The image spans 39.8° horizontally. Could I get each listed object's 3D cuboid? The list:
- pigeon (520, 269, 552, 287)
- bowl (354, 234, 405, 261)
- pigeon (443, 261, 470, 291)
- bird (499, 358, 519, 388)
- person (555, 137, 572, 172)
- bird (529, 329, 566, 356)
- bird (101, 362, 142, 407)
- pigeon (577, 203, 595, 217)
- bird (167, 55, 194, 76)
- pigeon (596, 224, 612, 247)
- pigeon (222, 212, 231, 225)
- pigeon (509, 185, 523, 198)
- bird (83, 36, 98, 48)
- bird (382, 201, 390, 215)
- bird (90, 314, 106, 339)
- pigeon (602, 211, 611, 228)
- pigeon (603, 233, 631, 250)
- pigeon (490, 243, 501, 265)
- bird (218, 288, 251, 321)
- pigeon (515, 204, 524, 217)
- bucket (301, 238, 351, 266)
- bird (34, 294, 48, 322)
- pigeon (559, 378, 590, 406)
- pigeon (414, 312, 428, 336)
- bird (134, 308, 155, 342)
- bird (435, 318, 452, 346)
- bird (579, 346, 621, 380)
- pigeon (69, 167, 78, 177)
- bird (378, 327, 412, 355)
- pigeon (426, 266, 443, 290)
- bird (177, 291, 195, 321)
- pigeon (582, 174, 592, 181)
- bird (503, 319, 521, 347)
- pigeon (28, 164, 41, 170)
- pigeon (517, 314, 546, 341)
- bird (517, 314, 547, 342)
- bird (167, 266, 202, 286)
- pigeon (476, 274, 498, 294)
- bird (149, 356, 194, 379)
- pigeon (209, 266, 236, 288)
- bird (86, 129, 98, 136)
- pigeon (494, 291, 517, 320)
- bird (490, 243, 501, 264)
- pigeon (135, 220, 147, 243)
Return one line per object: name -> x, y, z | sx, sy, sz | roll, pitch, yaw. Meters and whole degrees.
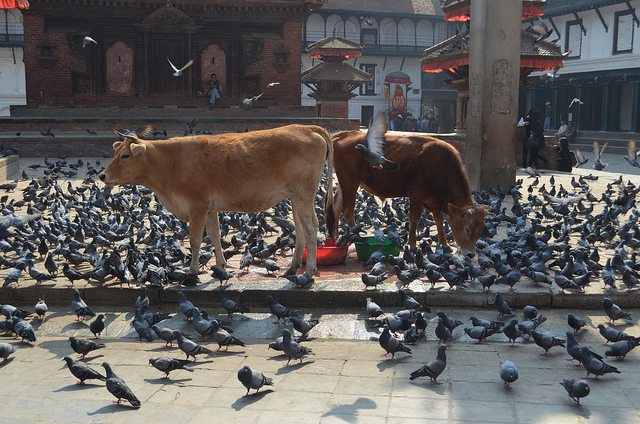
pigeon -> 4.635, 1.431, 19.024 | 0.660, 0.332, 0.235 | 0, 9, 9
bowl -> 1.454, 0.847, 20.473 | 0.920, 0.512, 1.204 | 6, 12, 41
pigeon -> 2.872, 1.389, 18.959 | 0.456, 0.575, 0.222 | 2, 9, 18
bird -> 3.610, 3.100, 16.991 | 0.333, 0.482, 0.666 | 2, 16, 4
person -> 8.653, -1.988, 31.472 | 0.501, 1.191, 0.400 | 1, 9, 13
bird -> 4.539, 2.584, 17.672 | 0.849, 0.489, 0.272 | -3, 0, -20
bird -> -3.736, 3.269, 16.827 | 0.966, 0.712, 0.370 | 11, 19, 30
pigeon -> 7.128, -0.030, 23.876 | 0.371, 0.284, 0.350 | 1, 9, 14
bird -> -5.831, -6.006, 37.729 | 0.992, 0.731, 0.761 | 7, 24, -6
pigeon -> 6.764, 0.525, 21.164 | 0.360, 0.386, 0.234 | -1, 8, 0
pigeon -> -2.300, 0.168, 22.387 | 0.131, 0.241, 0.435 | -5, 26, -12
pigeon -> 5.564, -0.572, 25.210 | 0.178, 0.248, 0.560 | -19, -30, 32
bird -> -9.736, -7.226, 37.887 | 0.232, 0.570, 1.047 | 22, 18, 14
bird -> 1.779, -0.127, 23.608 | 0.123, 0.372, 0.207 | 3, 49, -8
bird -> -4.515, 2.356, 18.177 | 0.280, 0.509, 0.245 | -4, 9, -18
pigeon -> 7.084, 0.182, 21.987 | 0.130, 0.404, 0.160 | 12, -21, 23
pigeon -> 6.998, 0.741, 21.020 | 0.624, 0.385, 0.231 | -17, 11, -3
pigeon -> 3.926, 0.898, 19.943 | 0.165, 0.293, 0.512 | 4, 34, 26
bird -> -1.765, 1.946, 18.514 | 0.748, 0.588, 0.266 | 6, 6, -3
pigeon -> 5.148, -0.013, 22.923 | 0.159, 0.286, 0.120 | 7, 2, 13
bucket -> 0.314, 0.949, 20.312 | 0.739, 0.265, 0.724 | 1, 5, 0
bird -> -5.852, 2.068, 18.786 | 0.246, 0.431, 0.425 | -4, 9, -18
pigeon -> 4.785, 3.324, 16.612 | 0.269, 0.511, 0.675 | 0, 20, -13
pigeon -> 2.060, 2.291, 18.033 | 0.240, 0.486, 0.484 | 0, 9, 6
bird -> -3.556, 2.318, 18.092 | 0.364, 0.676, 0.178 | 0, 9, 10
bird -> 2.466, 2.390, 17.765 | 0.266, 0.506, 0.164 | -5, 9, -22
bird -> 5.378, 2.939, 17.151 | 1.029, 0.632, 0.311 | 7, -1, -17
pigeon -> -7.951, -1.275, 28.934 | 0.149, 0.278, 0.452 | 6, 16, -37
bird -> 1.514, 2.572, 17.660 | 0.763, 0.563, 0.420 | 6, 1, -27
pigeon -> 2.450, 1.422, 19.009 | 0.265, 0.476, 0.275 | -9, 11, -41
bird -> -2.739, 1.989, 18.397 | 0.267, 0.658, 0.691 | -3, 9, -10
pigeon -> 8.729, -1.097, 29.080 | 0.371, 0.213, 0.287 | 3, 6, 18
bird -> 3.849, 2.425, 17.804 | 0.330, 0.549, 0.277 | 0, 9, 9
pigeon -> -9.613, -1.511, 30.153 | 0.285, 0.158, 0.126 | 1, 9, -15
pigeon -> 4.315, 2.270, 17.741 | 0.767, 0.409, 0.249 | -28, 19, -37
bird -> 4.336, 2.267, 17.750 | 0.740, 0.397, 0.242 | -33, 20, -30
bird -> -2.930, 1.404, 19.194 | 0.785, 0.425, 0.280 | 1, -3, 5
pigeon -> 3.545, 1.540, 18.901 | 0.380, 0.391, 0.239 | 1, 9, 12
bird -> -2.892, 2.994, 17.386 | 1.061, 0.438, 0.342 | -1, 15, -10
pigeon -> -2.014, 1.362, 19.311 | 0.357, 0.448, 0.699 | 4, 10, 31
bird -> -8.502, -2.970, 33.433 | 0.221, 0.351, 0.616 | -7, 18, -22
pigeon -> 3.804, 1.950, 18.506 | 0.329, 0.580, 0.496 | 1, 9, 13
bird -> 3.927, 0.871, 19.947 | 0.169, 0.293, 0.513 | 1, 28, 26
pigeon -> -4.343, 0.547, 21.748 | 0.174, 0.506, 0.328 | 9, 50, -21
